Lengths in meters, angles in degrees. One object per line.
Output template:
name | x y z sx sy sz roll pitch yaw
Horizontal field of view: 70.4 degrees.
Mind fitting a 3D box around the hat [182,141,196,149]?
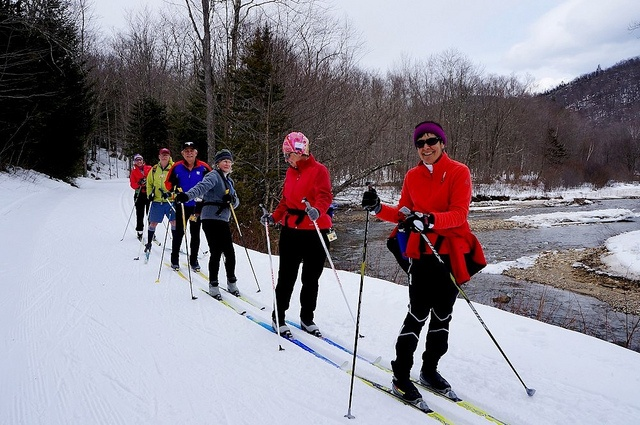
hat | -3.049 -1.575 10.630 0.275 0.186 0.417 4 11 -16

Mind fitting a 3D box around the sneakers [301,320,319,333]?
sneakers | -0.183 2.218 8.736 0.431 0.196 0.159 10 0 41

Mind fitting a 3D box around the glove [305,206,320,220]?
glove | -0.144 0.006 8.049 0.245 0.186 0.089 46 30 22

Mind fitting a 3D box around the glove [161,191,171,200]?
glove | -3.777 -0.424 11.159 0.268 0.110 0.202 6 -1 43

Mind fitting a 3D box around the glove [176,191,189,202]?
glove | -2.807 -0.291 9.251 0.259 0.215 0.221 4 11 -17

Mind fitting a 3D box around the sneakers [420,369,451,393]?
sneakers | 1.928 2.847 7.677 0.629 0.294 0.236 10 8 28

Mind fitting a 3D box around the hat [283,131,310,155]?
hat | -0.457 -1.323 8.569 0.456 0.436 0.350 1 15 -12

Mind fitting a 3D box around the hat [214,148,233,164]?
hat | -2.097 -1.216 9.896 0.328 0.271 0.267 -23 8 -15

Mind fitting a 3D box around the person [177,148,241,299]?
person | -2.215 0.230 9.645 1.165 3.051 0.854 5 10 -9

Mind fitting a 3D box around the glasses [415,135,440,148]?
glasses | 1.771 -1.175 7.530 0.213 0.075 0.224 -12 -16 30
